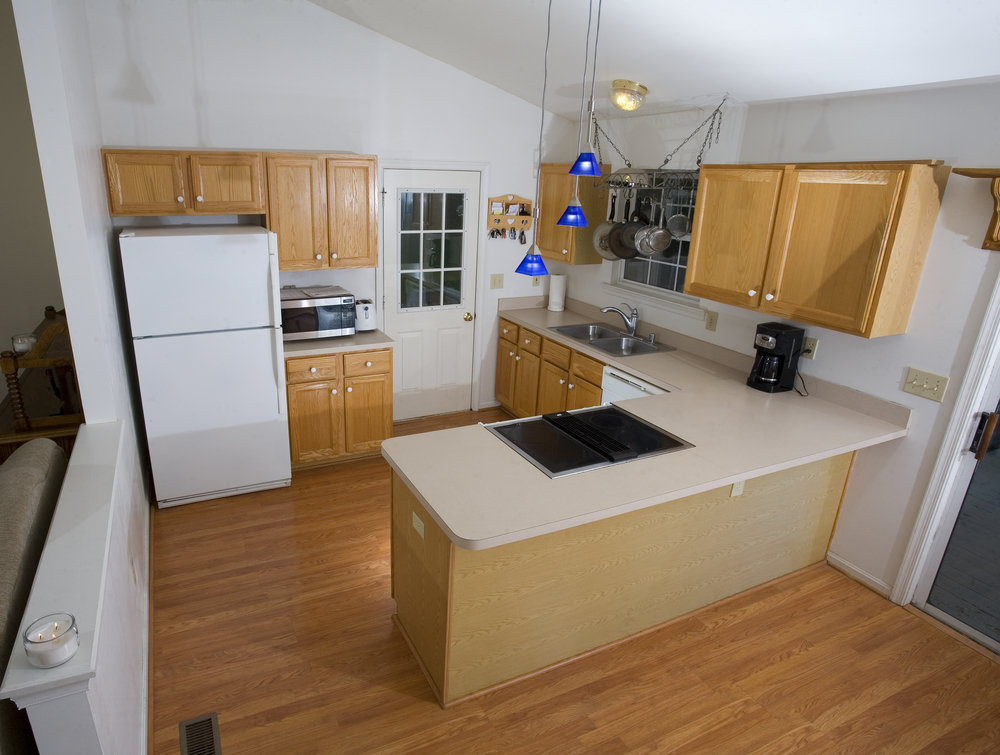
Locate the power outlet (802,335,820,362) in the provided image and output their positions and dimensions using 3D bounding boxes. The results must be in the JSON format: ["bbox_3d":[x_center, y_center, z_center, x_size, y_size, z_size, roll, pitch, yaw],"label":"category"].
[{"bbox_3d":[1.996,-0.201,4.449,0.020,0.199,0.110,-9,24,-28],"label":"power outlet"}]

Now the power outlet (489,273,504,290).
[{"bbox_3d":[-0.010,-0.868,6.224,0.119,0.118,0.029,-8,17,-28],"label":"power outlet"}]

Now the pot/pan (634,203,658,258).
[{"bbox_3d":[1.106,-1.105,5.215,0.276,0.414,0.148,-1,9,12],"label":"pot/pan"}]

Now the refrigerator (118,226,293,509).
[{"bbox_3d":[-2.136,-0.093,5.005,1.023,1.883,0.922,-11,18,-38],"label":"refrigerator"}]

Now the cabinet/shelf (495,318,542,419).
[{"bbox_3d":[0.173,-0.114,6.109,0.397,0.779,0.655,-4,23,-18],"label":"cabinet/shelf"}]

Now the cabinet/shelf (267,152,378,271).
[{"bbox_3d":[-1.320,-1.235,5.016,0.812,0.748,0.394,-8,25,-27],"label":"cabinet/shelf"}]

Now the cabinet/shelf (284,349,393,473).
[{"bbox_3d":[-1.255,0.215,5.234,0.739,0.847,0.432,-11,25,-29],"label":"cabinet/shelf"}]

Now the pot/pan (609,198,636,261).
[{"bbox_3d":[0.966,-1.099,5.448,0.201,0.312,0.052,-7,10,-39],"label":"pot/pan"}]

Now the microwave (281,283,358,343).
[{"bbox_3d":[-1.417,-0.629,5.254,0.581,0.347,0.407,-8,26,-26],"label":"microwave"}]

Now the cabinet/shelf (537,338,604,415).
[{"bbox_3d":[0.563,-0.030,5.394,0.265,0.467,0.502,-4,19,-19],"label":"cabinet/shelf"}]

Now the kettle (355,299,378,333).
[{"bbox_3d":[-1.058,-0.485,5.509,0.232,0.338,0.215,-1,40,-12],"label":"kettle"}]

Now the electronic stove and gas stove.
[{"bbox_3d":[0.489,0.321,3.856,0.974,0.072,0.627,-7,21,-23],"label":"electronic stove and gas stove"}]

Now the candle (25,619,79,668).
[{"bbox_3d":[-1.555,0.899,2.409,0.152,0.117,0.153,18,17,24],"label":"candle"}]

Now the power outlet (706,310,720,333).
[{"bbox_3d":[1.547,-0.421,5.060,0.030,0.117,0.127,7,3,-34],"label":"power outlet"}]

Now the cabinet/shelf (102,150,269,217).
[{"bbox_3d":[-2.084,-1.318,4.630,0.965,0.394,0.233,-3,20,-12],"label":"cabinet/shelf"}]

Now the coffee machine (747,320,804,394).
[{"bbox_3d":[1.791,-0.133,4.466,0.286,0.523,0.293,-9,24,-21],"label":"coffee machine"}]

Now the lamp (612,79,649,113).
[{"bbox_3d":[0.885,-1.956,4.742,0.231,0.156,0.227,-4,28,-10],"label":"lamp"}]

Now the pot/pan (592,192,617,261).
[{"bbox_3d":[0.852,-1.260,5.643,0.072,0.493,0.296,8,6,34],"label":"pot/pan"}]

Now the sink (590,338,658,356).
[{"bbox_3d":[0.998,-0.262,5.588,0.262,0.097,0.280,-8,22,-23],"label":"sink"}]

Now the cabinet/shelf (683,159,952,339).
[{"bbox_3d":[1.862,-0.856,4.305,0.634,0.931,1.285,-12,23,-36],"label":"cabinet/shelf"}]

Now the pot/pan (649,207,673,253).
[{"bbox_3d":[1.164,-1.083,5.133,0.085,0.363,0.195,7,19,40],"label":"pot/pan"}]
